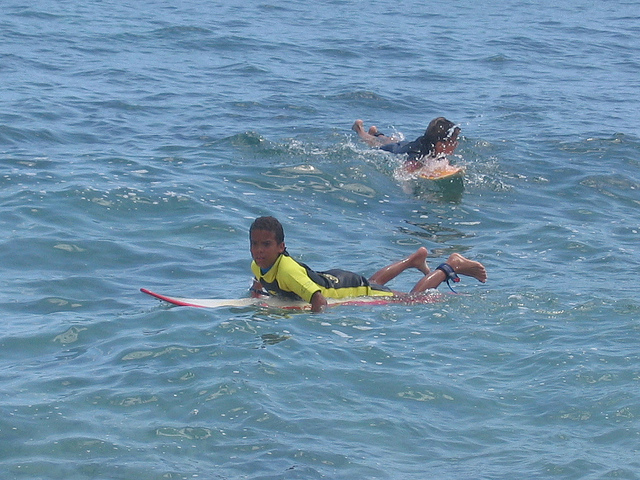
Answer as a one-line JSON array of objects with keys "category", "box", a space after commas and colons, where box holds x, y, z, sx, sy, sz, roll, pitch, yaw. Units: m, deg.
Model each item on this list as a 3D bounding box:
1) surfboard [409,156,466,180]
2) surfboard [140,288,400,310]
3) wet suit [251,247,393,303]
[{"category": "surfboard", "box": [1.959, -1.184, 22.332, 0.520, 0.244, 0.624, 38, 52, 25]}, {"category": "surfboard", "box": [-0.631, 0.804, 17.545, 2.986, 0.326, 0.141, 1, 83, -1]}, {"category": "wet suit", "box": [0.013, 0.553, 17.502, 1.756, 0.809, 0.647, -3, 53, -12]}]
